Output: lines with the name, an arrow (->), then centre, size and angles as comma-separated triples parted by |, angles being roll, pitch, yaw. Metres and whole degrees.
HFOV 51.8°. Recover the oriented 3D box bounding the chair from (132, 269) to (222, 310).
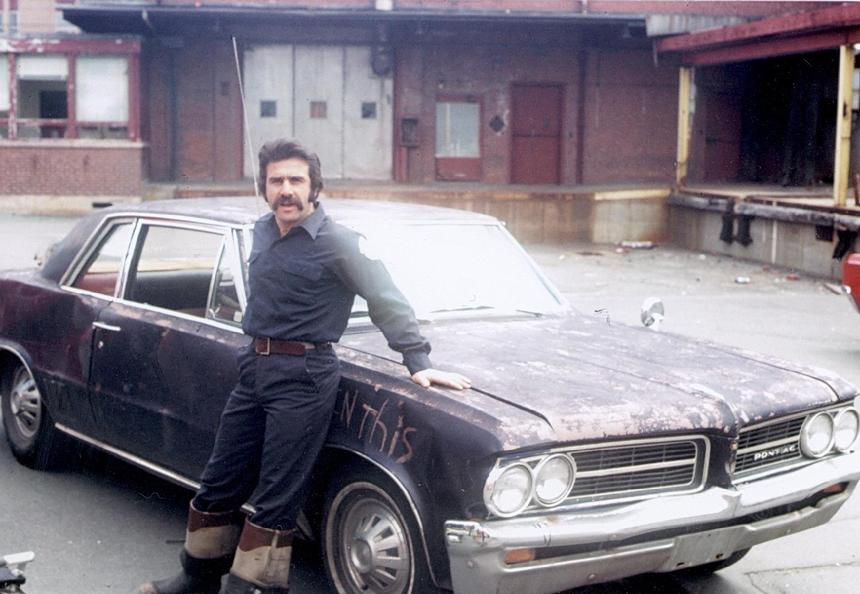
chair -> -1.765, -0.049, 6.184 | 0.447, 0.210, 0.319 | -7, 15, -44
